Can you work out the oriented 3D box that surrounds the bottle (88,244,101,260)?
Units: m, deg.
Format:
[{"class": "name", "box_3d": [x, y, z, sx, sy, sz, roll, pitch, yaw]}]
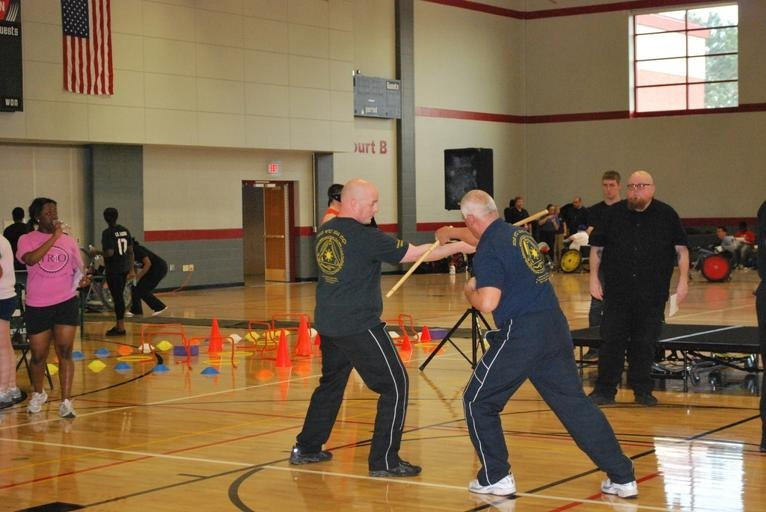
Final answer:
[{"class": "bottle", "box_3d": [-6.500, -0.074, 16.012, 0.151, 0.265, 0.642, -8, 26, -28]}]

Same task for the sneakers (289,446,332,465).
[{"class": "sneakers", "box_3d": [-0.623, 1.711, 6.065, 0.356, 0.168, 0.141, -2, 2, -21]}]

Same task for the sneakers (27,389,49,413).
[{"class": "sneakers", "box_3d": [-3.750, 1.579, 7.747, 0.127, 0.140, 0.326, -1, 9, 0]}]

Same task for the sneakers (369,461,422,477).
[{"class": "sneakers", "box_3d": [0.099, 1.721, 5.723, 0.404, 0.161, 0.148, -2, -1, -8]}]

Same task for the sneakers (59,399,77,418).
[{"class": "sneakers", "box_3d": [-3.355, 1.626, 7.528, 0.121, 0.128, 0.278, 2, -7, -23]}]

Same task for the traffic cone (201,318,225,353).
[{"class": "traffic cone", "box_3d": [-2.649, 1.255, 11.231, 0.221, 0.464, 0.754, -2, 4, -13]}]

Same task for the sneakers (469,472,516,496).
[{"class": "sneakers", "box_3d": [0.810, 1.709, 5.323, 0.342, 0.159, 0.147, 2, 0, 21]}]

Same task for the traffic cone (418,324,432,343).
[{"class": "traffic cone", "box_3d": [0.677, 1.294, 11.494, 0.204, 0.238, 0.205, 1, -2, 5]}]

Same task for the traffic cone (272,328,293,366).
[{"class": "traffic cone", "box_3d": [-1.422, 1.285, 10.066, 0.221, 0.518, 0.492, -2, 4, -9]}]

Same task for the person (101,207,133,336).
[{"class": "person", "box_3d": [-4.727, 0.264, 12.653, 0.452, 2.242, 0.702, -2, 4, -13]}]

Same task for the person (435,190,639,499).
[{"class": "person", "box_3d": [1.123, 0.647, 5.196, 1.079, 2.266, 0.435, -2, 4, -4]}]

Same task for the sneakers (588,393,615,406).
[{"class": "sneakers", "box_3d": [2.316, 1.531, 7.506, 0.308, 0.136, 0.132, 7, -6, -24]}]

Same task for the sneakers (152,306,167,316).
[{"class": "sneakers", "box_3d": [-4.623, 1.151, 14.681, 0.326, 0.139, 0.120, -22, 14, -8]}]

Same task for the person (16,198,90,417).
[{"class": "person", "box_3d": [-3.486, 0.551, 7.512, 0.600, 2.317, 0.670, -4, 5, -27]}]

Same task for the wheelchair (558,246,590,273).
[{"class": "wheelchair", "box_3d": [5.910, 0.162, 22.125, 0.912, 0.817, 0.672, 4, 4, 26]}]

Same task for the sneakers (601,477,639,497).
[{"class": "sneakers", "box_3d": [1.726, 1.712, 5.227, 0.261, 0.131, 0.113, 7, 9, 41]}]
